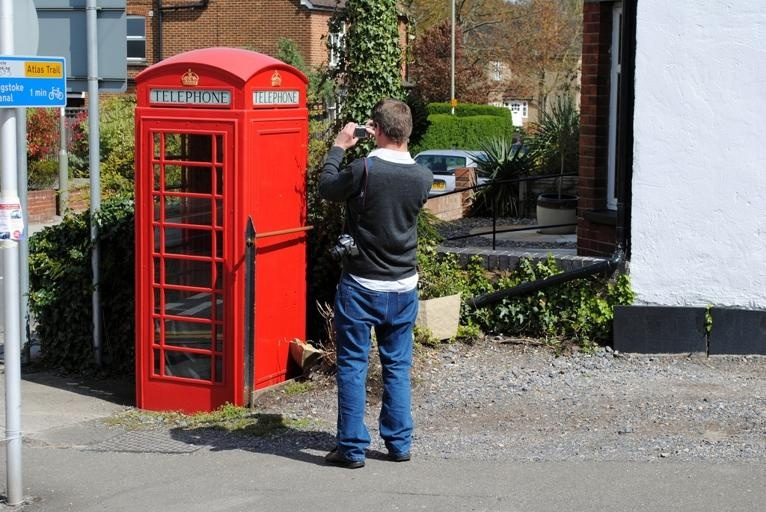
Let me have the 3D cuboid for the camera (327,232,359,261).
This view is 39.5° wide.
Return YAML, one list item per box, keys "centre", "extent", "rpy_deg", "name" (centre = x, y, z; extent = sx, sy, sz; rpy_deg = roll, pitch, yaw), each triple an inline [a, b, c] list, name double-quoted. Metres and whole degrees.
- centre: [-0.327, -0.066, 8.972]
  extent: [0.213, 0.200, 0.208]
  rpy_deg: [-22, 41, -16]
  name: "camera"

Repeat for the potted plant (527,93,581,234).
- centre: [3.462, -1.868, 19.147]
  extent: [0.950, 1.871, 0.991]
  rpy_deg: [15, 5, 17]
  name: "potted plant"

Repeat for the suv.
- centre: [1.452, -2.047, 25.355]
  extent: [1.008, 0.751, 2.359]
  rpy_deg: [4, 12, 25]
  name: "suv"

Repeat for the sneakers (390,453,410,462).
- centre: [0.162, 1.710, 9.073]
  extent: [0.180, 0.076, 0.067]
  rpy_deg: [-2, 6, 1]
  name: "sneakers"

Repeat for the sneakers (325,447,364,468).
- centre: [-0.340, 1.701, 9.037]
  extent: [0.351, 0.170, 0.138]
  rpy_deg: [10, 11, 36]
  name: "sneakers"

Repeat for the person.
- centre: [-0.097, 0.215, 9.058]
  extent: [0.882, 2.995, 1.031]
  rpy_deg: [3, 14, 16]
  name: "person"
